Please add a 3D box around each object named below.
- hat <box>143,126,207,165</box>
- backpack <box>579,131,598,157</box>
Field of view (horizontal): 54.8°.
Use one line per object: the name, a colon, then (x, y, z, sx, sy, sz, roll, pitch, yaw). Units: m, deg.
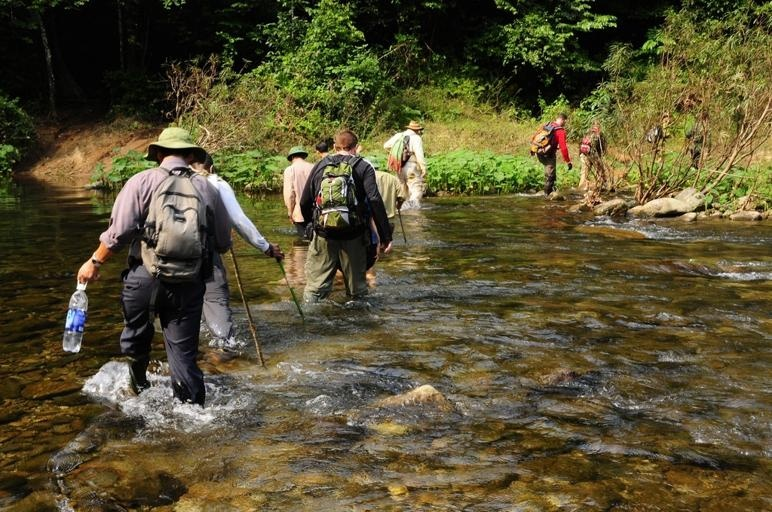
hat: (-2.255, -1.244, 8.029, 0.615, 0.238, 0.645, 2, 2, -4)
backpack: (5.743, -3.197, 21.073, 0.460, 0.719, 0.763, 3, 13, 12)
